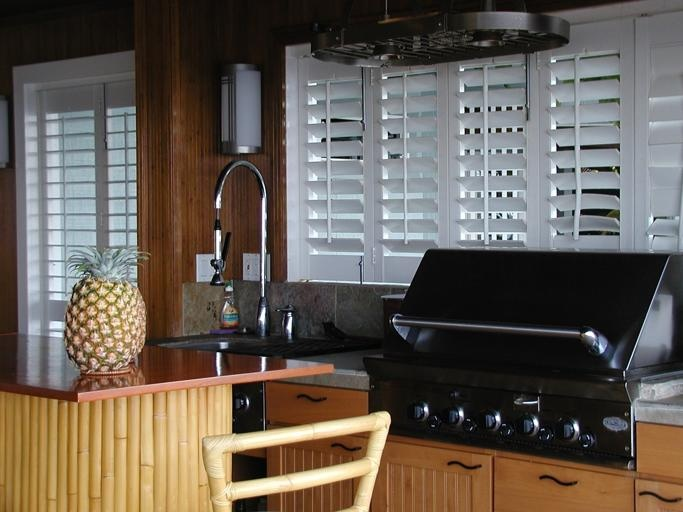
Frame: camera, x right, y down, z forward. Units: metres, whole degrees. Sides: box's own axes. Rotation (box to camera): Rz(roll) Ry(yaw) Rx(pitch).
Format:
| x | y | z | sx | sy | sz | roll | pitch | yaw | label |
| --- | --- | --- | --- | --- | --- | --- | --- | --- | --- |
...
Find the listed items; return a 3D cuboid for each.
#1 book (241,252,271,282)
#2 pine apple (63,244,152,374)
| x | y | z | sx | sy | sz | roll | pitch | yaw | label |
| --- | --- | --- | --- | --- | --- | --- | --- | --- | --- |
| -0.445 | 0.060 | 3.714 | 0.164 | 0.138 | 0.019 | 0 | -3 | 23 | book |
| -0.749 | 0.167 | 2.223 | 0.237 | 0.389 | 0.212 | -2 | 4 | -21 | pine apple |
